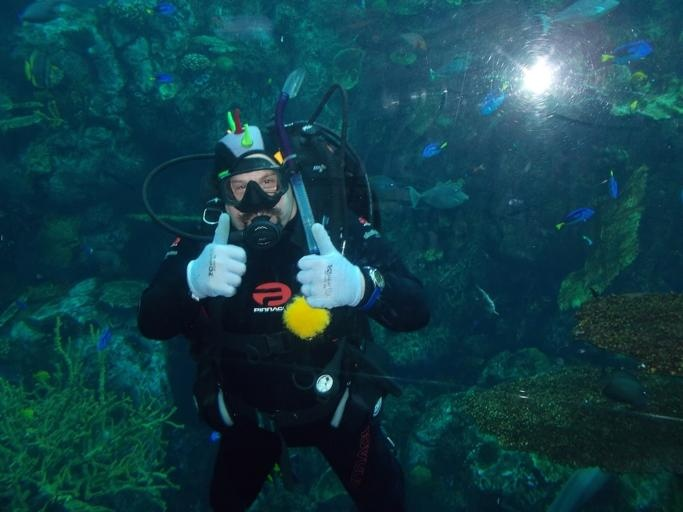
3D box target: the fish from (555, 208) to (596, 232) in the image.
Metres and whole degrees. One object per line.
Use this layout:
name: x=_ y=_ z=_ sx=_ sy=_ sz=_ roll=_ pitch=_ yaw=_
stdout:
fish: x=4.658 y=-0.725 z=12.537 sx=0.638 sy=0.265 sz=0.155 roll=-23 pitch=38 yaw=1

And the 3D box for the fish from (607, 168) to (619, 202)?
fish: x=5.449 y=-1.443 z=12.633 sx=0.213 sy=0.217 sz=0.694 roll=3 pitch=86 yaw=24
